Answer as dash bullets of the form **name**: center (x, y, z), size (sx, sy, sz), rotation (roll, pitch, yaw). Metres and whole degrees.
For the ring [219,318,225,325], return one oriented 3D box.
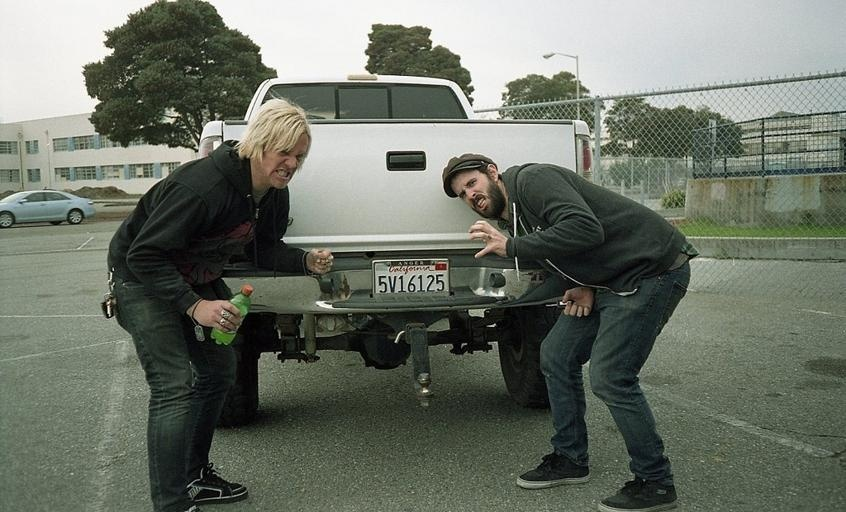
- **ring**: center (-1.486, 0.481, 5.424), size (0.053, 0.049, 0.012), rotation (1, 2, -14)

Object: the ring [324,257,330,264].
- **ring**: center (-0.809, 0.042, 6.270), size (0.038, 0.050, 0.051), rotation (-3, 14, -25)

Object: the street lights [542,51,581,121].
- **street lights**: center (2.288, -2.768, 11.728), size (0.663, 0.374, 1.539), rotation (2, -23, 14)

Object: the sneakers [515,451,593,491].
- **sneakers**: center (1.080, 1.810, 6.185), size (0.681, 0.272, 0.239), rotation (0, -7, -7)
